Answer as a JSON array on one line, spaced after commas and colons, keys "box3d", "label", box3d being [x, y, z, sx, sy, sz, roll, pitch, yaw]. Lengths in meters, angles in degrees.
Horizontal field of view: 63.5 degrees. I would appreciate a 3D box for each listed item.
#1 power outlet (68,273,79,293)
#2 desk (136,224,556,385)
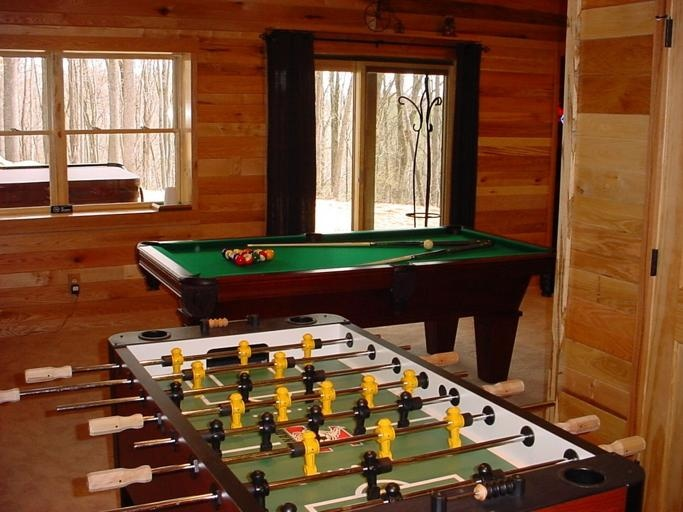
[{"box3d": [-2.282, 0.237, 4.708, 0.094, 0.195, 0.035, -8, 13, -20], "label": "power outlet"}, {"box3d": [0.082, 0.288, 3.579, 2.402, 0.616, 0.965, -4, 15, -27], "label": "desk"}]
